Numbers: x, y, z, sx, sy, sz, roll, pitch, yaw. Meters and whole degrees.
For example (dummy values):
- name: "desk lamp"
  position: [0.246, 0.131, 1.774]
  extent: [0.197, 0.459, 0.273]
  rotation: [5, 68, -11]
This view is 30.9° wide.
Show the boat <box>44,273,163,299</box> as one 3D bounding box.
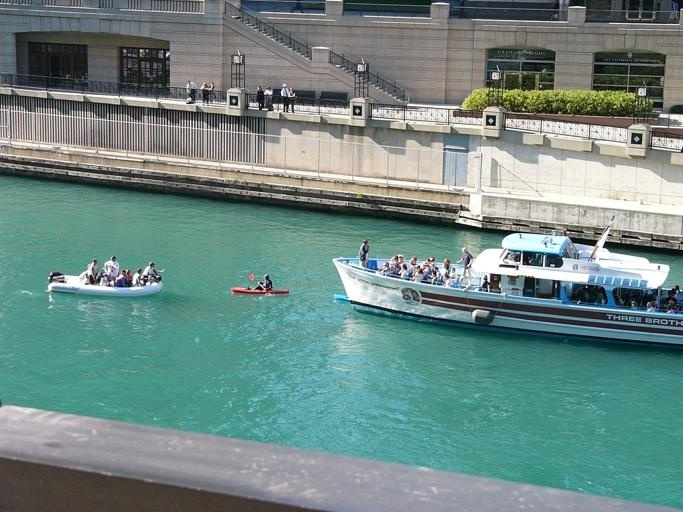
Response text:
- name: "boat"
  position: [-10.817, 1.447, 56.202]
  extent: [3.819, 0.601, 1.721]
  rotation: [3, 5, -7]

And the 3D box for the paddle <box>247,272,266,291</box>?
- name: "paddle"
  position: [-3.949, 1.178, 57.448]
  extent: [0.634, 0.361, 1.692]
  rotation: [17, -2, -21]

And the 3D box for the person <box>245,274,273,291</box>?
- name: "person"
  position: [-3.569, 1.265, 56.802]
  extent: [0.939, 0.405, 0.752]
  rotation: [4, 14, -20]

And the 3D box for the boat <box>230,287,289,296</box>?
- name: "boat"
  position: [-3.727, 1.613, 56.603]
  extent: [2.666, 0.355, 0.828]
  rotation: [1, 11, -3]
